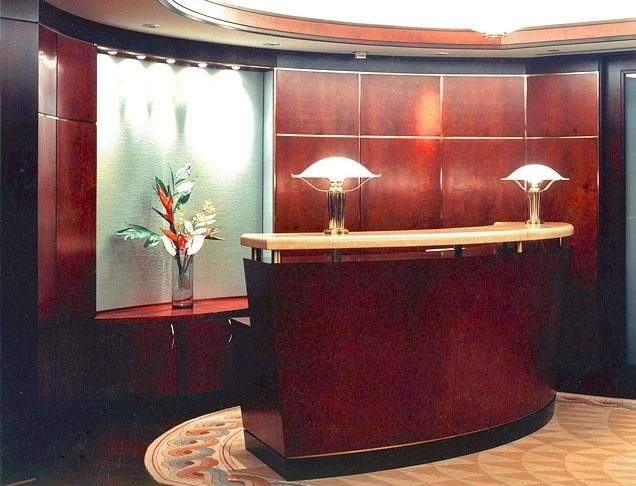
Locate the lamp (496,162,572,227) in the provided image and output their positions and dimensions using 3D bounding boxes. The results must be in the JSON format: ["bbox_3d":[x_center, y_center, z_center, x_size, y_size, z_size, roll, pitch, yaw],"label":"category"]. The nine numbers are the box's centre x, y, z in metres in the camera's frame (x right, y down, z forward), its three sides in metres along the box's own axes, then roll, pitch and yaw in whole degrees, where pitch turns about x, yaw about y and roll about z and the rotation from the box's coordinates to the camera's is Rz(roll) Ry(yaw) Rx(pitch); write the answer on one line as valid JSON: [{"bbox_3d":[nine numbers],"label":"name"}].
[{"bbox_3d":[1.926,-0.442,4.992,0.521,0.502,0.536,-4,-1,4],"label":"lamp"}]

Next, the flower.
[{"bbox_3d":[-1.356,-0.279,5.606,1.055,1.073,0.988,-6,12,-33],"label":"flower"}]

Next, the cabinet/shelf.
[{"bbox_3d":[-1.333,1.021,5.365,1.590,0.809,0.559,-3,6,-22],"label":"cabinet/shelf"}]
